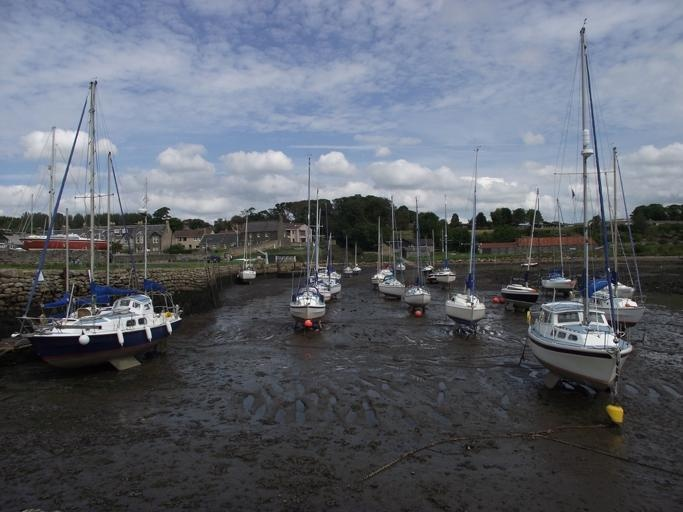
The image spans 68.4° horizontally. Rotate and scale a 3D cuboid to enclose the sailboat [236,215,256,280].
[{"bbox_3d":[-13.050,-1.556,69.515,2.913,10.297,8.487,1,4,-13],"label":"sailboat"}]
